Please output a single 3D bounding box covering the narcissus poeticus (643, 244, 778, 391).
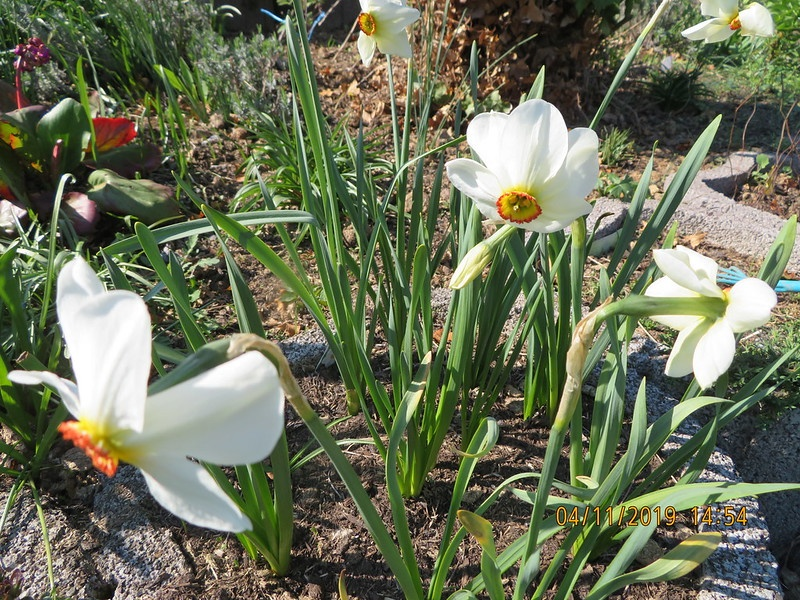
[{"bbox_3d":[0.936,0.049,2.256,0.169,0.406,0.457,3,63,-34],"label":"narcissus poeticus"}]

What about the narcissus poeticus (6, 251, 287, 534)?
[{"bbox_3d":[-0.646,0.272,2.036,0.662,0.417,0.369,19,48,12],"label":"narcissus poeticus"}]
